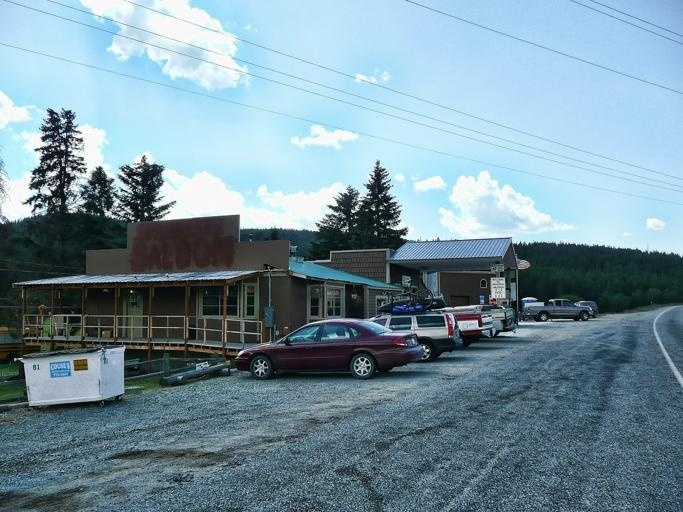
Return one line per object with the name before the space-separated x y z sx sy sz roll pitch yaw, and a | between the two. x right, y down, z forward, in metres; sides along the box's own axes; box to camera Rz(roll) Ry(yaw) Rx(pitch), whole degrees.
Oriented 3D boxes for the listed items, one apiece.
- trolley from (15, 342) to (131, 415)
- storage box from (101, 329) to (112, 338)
trolley | -5.899 2.623 13.143 1.516 1.139 1.594 -8 -6 32
storage box | -10.597 3.507 27.003 0.387 0.436 1.076 1 -9 -28
